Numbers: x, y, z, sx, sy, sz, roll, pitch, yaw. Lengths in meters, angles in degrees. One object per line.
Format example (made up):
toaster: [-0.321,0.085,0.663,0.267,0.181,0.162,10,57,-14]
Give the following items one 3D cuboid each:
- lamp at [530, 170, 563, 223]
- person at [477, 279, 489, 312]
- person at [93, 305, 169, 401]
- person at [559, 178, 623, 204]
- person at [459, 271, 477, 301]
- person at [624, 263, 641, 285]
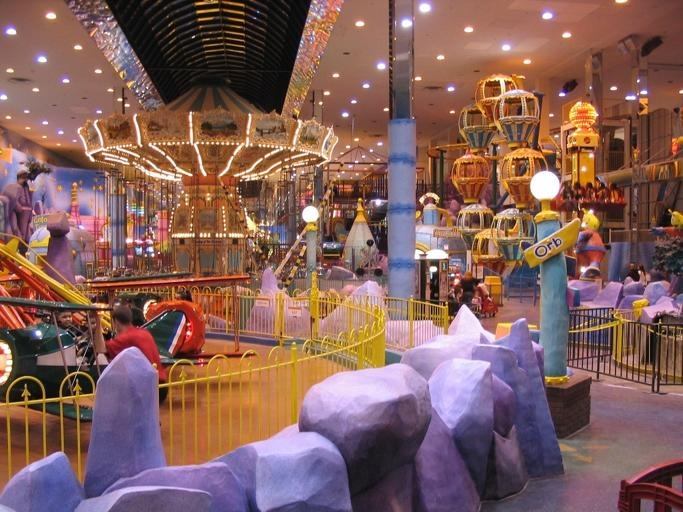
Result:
lamp: [2.950,-0.891,9.817,0.389,0.823,0.669,-1,-3,17]
person: [4.208,1.193,20.031,0.380,0.825,1.241,-1,-3,12]
person: [-2.774,1.273,8.811,0.902,1.326,1.277,1,-3,-17]
person: [7.491,-1.852,20.357,1.209,0.545,0.966,1,1,-2]
person: [3.491,0.865,18.823,0.334,0.861,0.502,-1,-3,10]
person: [8.664,0.499,20.175,0.434,0.979,0.473,0,4,15]
